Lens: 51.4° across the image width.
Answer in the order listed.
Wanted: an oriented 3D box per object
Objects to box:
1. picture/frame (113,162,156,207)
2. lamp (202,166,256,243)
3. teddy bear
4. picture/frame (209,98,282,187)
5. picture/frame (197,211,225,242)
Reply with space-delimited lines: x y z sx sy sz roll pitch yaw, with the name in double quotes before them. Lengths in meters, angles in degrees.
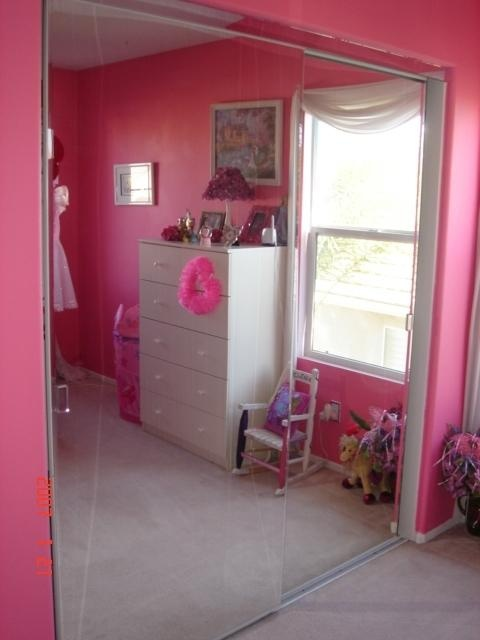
"picture/frame" -0.269 -0.342 1.245 0.112 0.121 0.009 -1 11 -34
"lamp" -0.033 -0.353 1.490 0.135 0.208 0.133 -15 34 -27
"teddy bear" 0.656 0.778 2.676 0.185 0.321 0.338 -2 7 -34
"picture/frame" 0.007 -0.521 1.456 0.262 0.281 0.018 -12 19 -42
"picture/frame" -0.085 -0.264 1.394 0.081 0.120 0.013 2 12 -35
